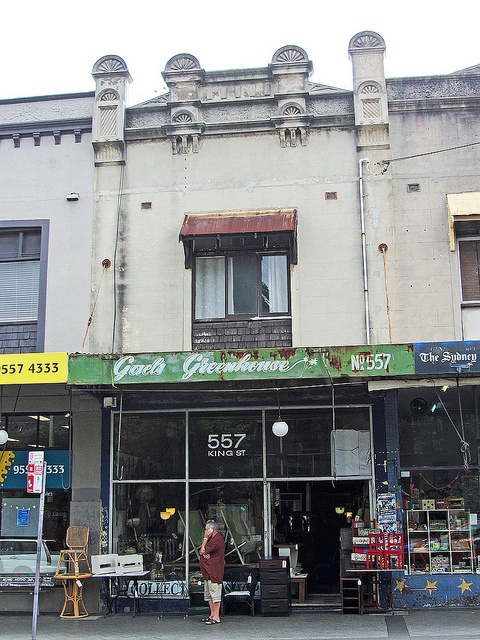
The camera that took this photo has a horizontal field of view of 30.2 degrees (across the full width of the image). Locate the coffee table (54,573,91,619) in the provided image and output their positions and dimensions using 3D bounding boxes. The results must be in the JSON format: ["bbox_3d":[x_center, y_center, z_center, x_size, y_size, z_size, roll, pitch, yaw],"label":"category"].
[{"bbox_3d":[-2.826,4.643,14.999,0.634,0.834,0.720,-1,-27,-1],"label":"coffee table"}]

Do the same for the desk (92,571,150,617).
[{"bbox_3d":[-2.035,4.673,15.266,0.882,0.770,0.900,2,-14,-16],"label":"desk"}]

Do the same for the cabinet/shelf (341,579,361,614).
[{"bbox_3d":[1.787,4.447,14.392,0.457,0.570,0.335,-11,-18,27],"label":"cabinet/shelf"}]

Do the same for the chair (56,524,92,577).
[{"bbox_3d":[-2.838,3.946,15.236,0.584,0.854,0.831,1,-16,-12],"label":"chair"}]

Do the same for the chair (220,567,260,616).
[{"bbox_3d":[0.032,4.624,15.051,0.658,0.877,0.658,-2,-36,6],"label":"chair"}]

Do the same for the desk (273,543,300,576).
[{"bbox_3d":[0.859,4.084,15.450,0.550,0.613,0.439,-1,-10,-2],"label":"desk"}]

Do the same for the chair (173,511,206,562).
[{"bbox_3d":[-0.815,3.689,15.511,0.445,0.899,0.788,3,-17,-11],"label":"chair"}]

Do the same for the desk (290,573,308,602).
[{"bbox_3d":[1.013,4.650,15.485,0.482,0.365,0.291,-2,-26,3],"label":"desk"}]

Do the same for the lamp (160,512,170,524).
[{"bbox_3d":[-1.309,3.501,15.613,0.185,0.249,0.136,4,-40,4],"label":"lamp"}]

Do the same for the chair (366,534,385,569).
[{"bbox_3d":[2.143,3.661,14.099,0.302,0.540,0.176,-4,-15,7],"label":"chair"}]

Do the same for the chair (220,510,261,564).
[{"bbox_3d":[-0.002,3.727,15.414,0.800,1.173,0.620,-7,-14,44],"label":"chair"}]

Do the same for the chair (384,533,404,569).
[{"bbox_3d":[2.445,3.666,14.176,0.307,0.573,0.429,-4,-16,8],"label":"chair"}]

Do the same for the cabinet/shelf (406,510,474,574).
[{"bbox_3d":[3.359,3.736,14.858,0.807,0.884,0.268,1,-26,0],"label":"cabinet/shelf"}]

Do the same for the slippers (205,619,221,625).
[{"bbox_3d":[-0.427,4.696,13.900,0.145,0.053,0.090,10,-15,-27],"label":"slippers"}]

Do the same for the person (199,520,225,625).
[{"bbox_3d":[-0.436,4.001,14.188,0.367,1.591,0.495,-1,-15,-2],"label":"person"}]
